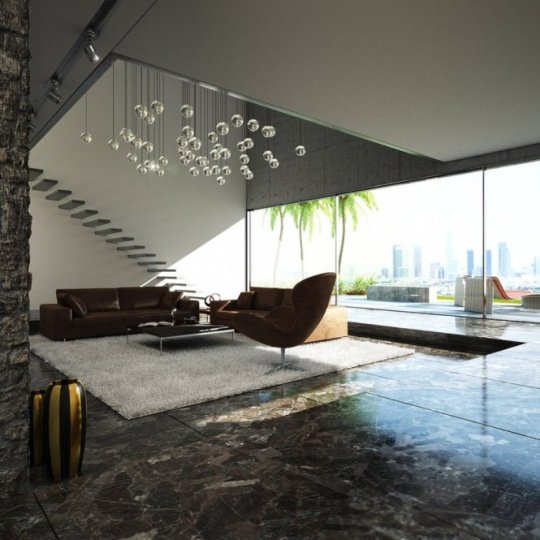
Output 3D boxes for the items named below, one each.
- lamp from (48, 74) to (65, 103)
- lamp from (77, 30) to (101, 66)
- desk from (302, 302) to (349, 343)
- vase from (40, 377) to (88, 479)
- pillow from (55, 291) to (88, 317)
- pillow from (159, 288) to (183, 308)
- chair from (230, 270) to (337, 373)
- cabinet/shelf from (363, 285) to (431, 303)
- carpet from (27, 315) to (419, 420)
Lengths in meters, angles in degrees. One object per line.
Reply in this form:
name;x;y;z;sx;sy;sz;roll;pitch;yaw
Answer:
lamp;-2.215;-1.864;4.420;0.107;0.236;0.150;13;19;-18
lamp;-1.483;-1.819;3.531;0.153;0.255;0.100;4;2;40
desk;0.954;0.810;6.294;0.448;0.437;0.786;18;-23;-41
vase;-1.067;0.818;2.236;0.201;0.471;0.238;-3;3;-28
pillow;-2.965;0.504;6.423;0.344;0.338;0.680;-2;2;-28
pillow;-1.716;0.502;7.451;0.353;0.304;0.102;6;-18;38
chair;0.162;0.507;4.406;0.652;0.960;0.894;-3;3;-38
cabinet/shelf;3.231;0.586;10.918;0.254;0.476;1.991;-3;2;-28
carpet;-1.098;0.938;4.801;2.859;0.038;2.532;2;5;-41
